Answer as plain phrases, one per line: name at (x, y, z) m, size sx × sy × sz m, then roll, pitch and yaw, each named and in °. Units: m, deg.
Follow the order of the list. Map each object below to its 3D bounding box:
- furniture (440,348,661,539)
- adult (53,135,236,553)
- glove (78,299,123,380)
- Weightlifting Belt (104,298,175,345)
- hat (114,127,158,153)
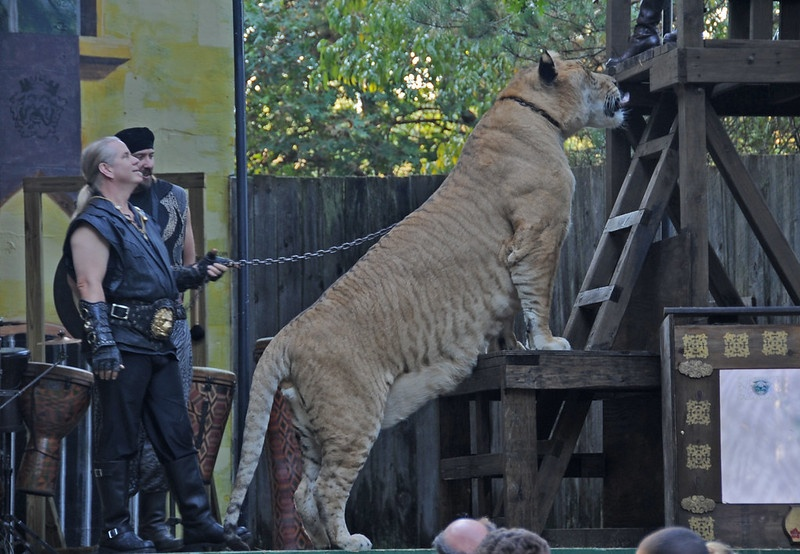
furniture at (1.419, 1.458, 24.919) m, size 1.797 × 1.872 × 1.860 m, roll 1°, pitch -5°, yaw -13°
adult at (-2.256, 0.605, 23.618) m, size 1.275 × 3.530 × 0.415 m, roll 3°, pitch -6°, yaw -8°
glove at (-2.551, 0.561, 23.485) m, size 0.379 × 0.655 × 0.220 m, roll 2°, pitch -5°, yaw 1°
Weightlifting Belt at (-2.202, 0.407, 23.620) m, size 0.402 × 0.230 × 0.404 m, roll 2°, pitch -1°, yaw 31°
hat at (-2.345, -1.197, 24.507) m, size 0.221 × 0.172 × 0.277 m, roll -8°, pitch 2°, yaw -36°
